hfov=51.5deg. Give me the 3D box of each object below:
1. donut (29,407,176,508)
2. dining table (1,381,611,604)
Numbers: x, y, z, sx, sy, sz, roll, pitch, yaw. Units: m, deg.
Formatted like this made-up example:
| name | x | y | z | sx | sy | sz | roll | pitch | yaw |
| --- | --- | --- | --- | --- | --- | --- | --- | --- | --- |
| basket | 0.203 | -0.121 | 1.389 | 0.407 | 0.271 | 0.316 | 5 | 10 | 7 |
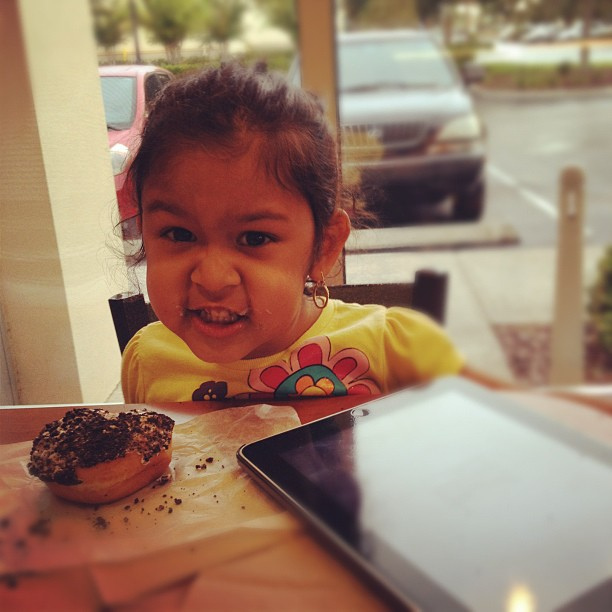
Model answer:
| name | x | y | z | sx | sy | sz | roll | pitch | yaw |
| --- | --- | --- | --- | --- | --- | --- | --- | --- | --- |
| donut | -0.224 | 0.161 | 0.721 | 0.138 | 0.045 | 0.152 | -5 | 12 | 12 |
| dining table | -0.001 | 0.225 | 0.741 | 0.454 | 0.371 | 0.223 | 2 | 55 | -8 |
